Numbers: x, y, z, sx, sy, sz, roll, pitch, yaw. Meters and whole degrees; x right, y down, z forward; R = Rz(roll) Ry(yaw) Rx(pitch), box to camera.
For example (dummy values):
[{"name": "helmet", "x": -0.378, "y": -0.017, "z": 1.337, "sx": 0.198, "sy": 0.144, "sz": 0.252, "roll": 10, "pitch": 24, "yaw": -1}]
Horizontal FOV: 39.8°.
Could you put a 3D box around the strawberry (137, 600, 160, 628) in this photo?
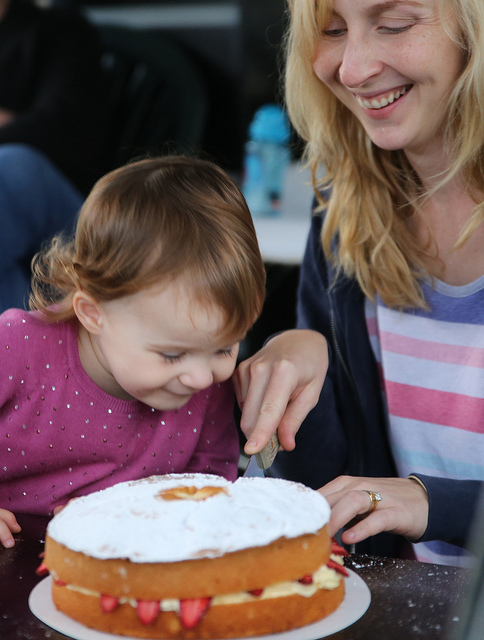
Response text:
[{"name": "strawberry", "x": -0.104, "y": 0.324, "z": 0.732, "sx": 0.024, "sy": 0.024, "sz": 0.022, "roll": -4, "pitch": 38, "yaw": 4}]

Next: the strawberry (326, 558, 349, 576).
[{"name": "strawberry", "x": 0.117, "y": 0.314, "z": 0.842, "sx": 0.028, "sy": 0.007, "sz": 0.015, "roll": 30, "pitch": 6, "yaw": -5}]

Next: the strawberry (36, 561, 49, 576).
[{"name": "strawberry", "x": -0.259, "y": 0.320, "z": 0.851, "sx": 0.012, "sy": 0.006, "sz": 0.021, "roll": -3, "pitch": -4, "yaw": -3}]

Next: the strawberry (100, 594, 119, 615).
[{"name": "strawberry", "x": -0.150, "y": 0.319, "z": 0.742, "sx": 0.023, "sy": 0.013, "sz": 0.017, "roll": 3, "pitch": 38, "yaw": 12}]

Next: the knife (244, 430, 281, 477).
[{"name": "knife", "x": 0.024, "y": 0.237, "z": 1.111, "sx": 0.026, "sy": 0.149, "sz": 0.016, "roll": -23, "pitch": 65, "yaw": -41}]

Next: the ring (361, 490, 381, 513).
[{"name": "ring", "x": 0.193, "y": 0.273, "z": 1.001, "sx": 0.023, "sy": 0.025, "sz": 0.034, "roll": 1, "pitch": 38, "yaw": 11}]

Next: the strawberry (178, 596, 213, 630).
[{"name": "strawberry", "x": -0.046, "y": 0.330, "z": 0.749, "sx": 0.027, "sy": 0.010, "sz": 0.035, "roll": 7, "pitch": 62, "yaw": -7}]
